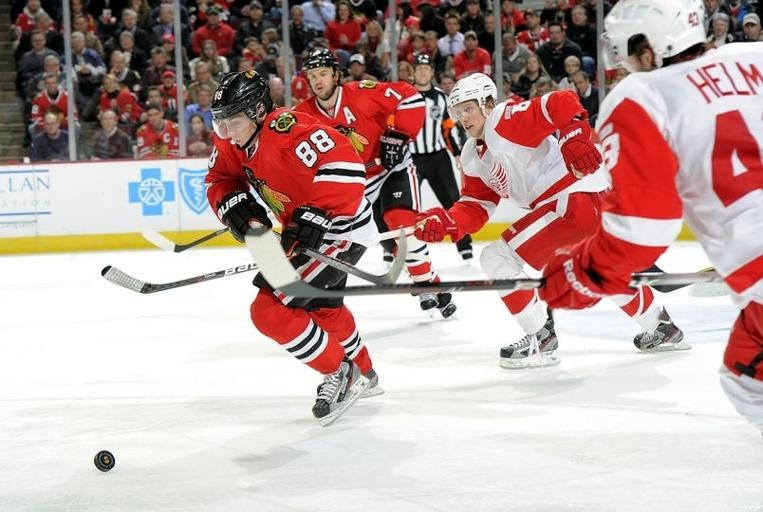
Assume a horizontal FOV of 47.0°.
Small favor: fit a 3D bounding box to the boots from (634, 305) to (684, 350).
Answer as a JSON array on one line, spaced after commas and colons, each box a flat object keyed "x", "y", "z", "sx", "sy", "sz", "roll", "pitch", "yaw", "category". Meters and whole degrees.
[{"x": 1.536, "y": 0.430, "z": 5.001, "sx": 0.353, "sy": 0.232, "sz": 0.102, "roll": -7, "pitch": 5, "yaw": -18, "category": "boots"}]

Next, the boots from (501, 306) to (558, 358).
[{"x": 0.821, "y": 0.469, "z": 4.952, "sx": 0.408, "sy": 0.293, "sz": 0.129, "roll": -7, "pitch": 2, "yaw": -30, "category": "boots"}]

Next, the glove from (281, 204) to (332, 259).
[{"x": -0.335, "y": -0.109, "z": 4.029, "sx": 0.171, "sy": 0.243, "sz": 0.110, "roll": 28, "pitch": -4, "yaw": 9, "category": "glove"}]

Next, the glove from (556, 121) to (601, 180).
[{"x": 1.080, "y": -0.568, "z": 4.718, "sx": 0.201, "sy": 0.293, "sz": 0.119, "roll": -29, "pitch": -13, "yaw": 28, "category": "glove"}]

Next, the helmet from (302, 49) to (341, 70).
[{"x": -0.381, "y": -1.267, "z": 5.610, "sx": 0.165, "sy": 0.151, "sz": 0.187, "roll": 1, "pitch": 22, "yaw": 13, "category": "helmet"}]

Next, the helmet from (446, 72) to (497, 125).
[{"x": 0.565, "y": -0.919, "z": 5.015, "sx": 0.268, "sy": 0.223, "sz": 0.214, "roll": -24, "pitch": 18, "yaw": -22, "category": "helmet"}]

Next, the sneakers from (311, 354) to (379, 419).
[{"x": -0.208, "y": 0.635, "z": 4.300, "sx": 0.137, "sy": 0.195, "sz": 0.438, "roll": -19, "pitch": 14, "yaw": 43, "category": "sneakers"}]

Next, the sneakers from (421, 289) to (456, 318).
[{"x": 0.384, "y": 0.340, "z": 6.013, "sx": 0.223, "sy": 0.130, "sz": 0.268, "roll": 10, "pitch": -26, "yaw": 1, "category": "sneakers"}]

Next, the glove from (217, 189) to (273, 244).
[{"x": -0.653, "y": -0.198, "z": 4.194, "sx": 0.336, "sy": 0.201, "sz": 0.124, "roll": 49, "pitch": 0, "yaw": 40, "category": "glove"}]

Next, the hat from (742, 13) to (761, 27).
[{"x": 3.509, "y": -2.257, "z": 8.368, "sx": 0.115, "sy": 0.078, "sz": 0.170, "roll": -7, "pitch": -5, "yaw": 31, "category": "hat"}]

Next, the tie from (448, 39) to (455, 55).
[{"x": 0.782, "y": -2.304, "z": 9.643, "sx": 0.103, "sy": 0.213, "sz": 0.026, "roll": -11, "pitch": -26, "yaw": 19, "category": "tie"}]

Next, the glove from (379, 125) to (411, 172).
[{"x": 0.076, "y": -0.726, "z": 5.870, "sx": 0.226, "sy": 0.259, "sz": 0.086, "roll": 10, "pitch": 4, "yaw": 4, "category": "glove"}]

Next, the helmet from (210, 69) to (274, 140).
[{"x": -0.641, "y": -0.699, "z": 4.065, "sx": 0.289, "sy": 0.308, "sz": 0.201, "roll": -6, "pitch": 13, "yaw": -13, "category": "helmet"}]

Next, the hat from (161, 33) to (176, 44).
[{"x": -2.256, "y": -2.313, "z": 9.312, "sx": 0.158, "sy": 0.090, "sz": 0.042, "roll": 4, "pitch": 15, "yaw": 29, "category": "hat"}]

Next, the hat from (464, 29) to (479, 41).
[{"x": 0.968, "y": -2.379, "z": 9.434, "sx": 0.173, "sy": 0.060, "sz": 0.220, "roll": 2, "pitch": -16, "yaw": 9, "category": "hat"}]

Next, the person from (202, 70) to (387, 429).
[{"x": -0.370, "y": -0.034, "z": 4.253, "sx": 0.838, "sy": 1.630, "sz": 0.743, "roll": -8, "pitch": 8, "yaw": -16, "category": "person"}]

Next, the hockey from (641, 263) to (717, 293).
[{"x": 1.486, "y": 0.117, "z": 4.396, "sx": 0.296, "sy": 0.068, "sz": 0.286, "roll": -9, "pitch": 12, "yaw": -36, "category": "hockey"}]

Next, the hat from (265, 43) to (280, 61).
[{"x": -1.198, "y": -2.240, "z": 9.647, "sx": 0.149, "sy": 0.175, "sz": 0.108, "roll": 2, "pitch": 3, "yaw": 5, "category": "hat"}]

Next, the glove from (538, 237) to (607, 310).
[{"x": 0.748, "y": 0.071, "z": 3.317, "sx": 0.289, "sy": 0.203, "sz": 0.137, "roll": -42, "pitch": -19, "yaw": 32, "category": "glove"}]

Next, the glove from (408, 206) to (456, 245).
[{"x": 0.273, "y": -0.141, "z": 4.702, "sx": 0.219, "sy": 0.192, "sz": 0.088, "roll": -19, "pitch": -26, "yaw": -17, "category": "glove"}]
